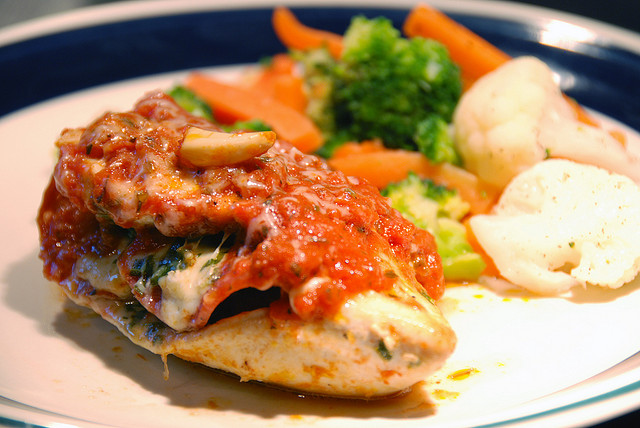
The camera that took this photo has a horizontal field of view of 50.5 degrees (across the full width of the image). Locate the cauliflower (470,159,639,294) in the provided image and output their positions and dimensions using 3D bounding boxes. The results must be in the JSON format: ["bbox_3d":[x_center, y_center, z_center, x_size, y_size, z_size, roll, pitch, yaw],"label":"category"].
[{"bbox_3d":[1.827,0.101,5.011,1.022,0.279,1.018,40,87,26],"label":"cauliflower"}]

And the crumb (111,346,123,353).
[{"bbox_3d":[-1.333,0.891,4.479,0.069,0.025,0.051,3,68,0],"label":"crumb"}]

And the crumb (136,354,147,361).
[{"bbox_3d":[-1.166,0.934,4.444,0.067,0.020,0.028,17,69,6],"label":"crumb"}]
